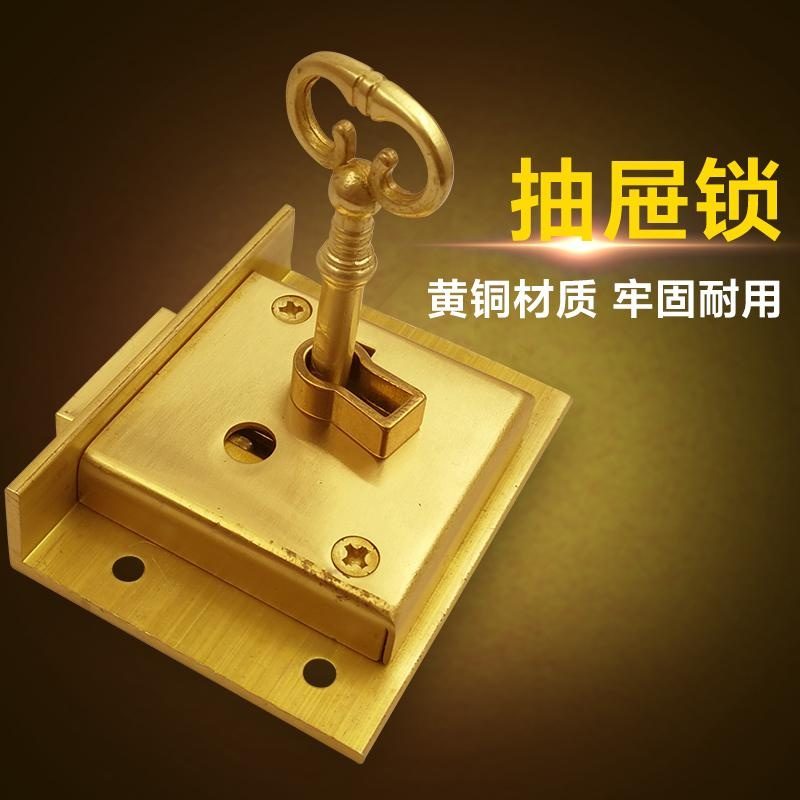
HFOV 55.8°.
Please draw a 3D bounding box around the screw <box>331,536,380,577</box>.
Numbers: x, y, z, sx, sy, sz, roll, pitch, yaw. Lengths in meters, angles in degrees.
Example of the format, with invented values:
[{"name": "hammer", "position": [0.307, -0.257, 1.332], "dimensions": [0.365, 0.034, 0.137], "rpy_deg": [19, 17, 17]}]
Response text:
[{"name": "screw", "position": [-0.064, 0.225, 1.087], "dimensions": [0.072, 0.059, 0.037], "rpy_deg": [17, -10, -3]}]
